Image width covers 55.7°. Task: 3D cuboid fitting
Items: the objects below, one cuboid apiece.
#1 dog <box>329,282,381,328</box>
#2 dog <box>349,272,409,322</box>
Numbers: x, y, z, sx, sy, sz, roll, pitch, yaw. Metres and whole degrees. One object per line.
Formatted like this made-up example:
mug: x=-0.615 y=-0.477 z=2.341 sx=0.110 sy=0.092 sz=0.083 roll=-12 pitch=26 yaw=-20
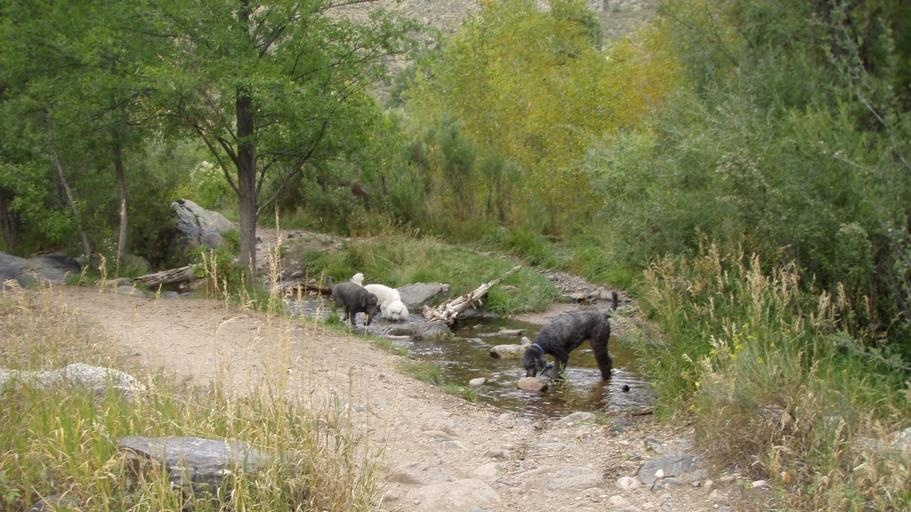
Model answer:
dog: x=-2.359 y=1.141 z=20.281 sx=0.787 sy=0.938 sz=1.256 roll=2 pitch=8 yaw=-24
dog: x=-1.868 y=1.044 z=21.380 sx=1.685 sy=0.876 sz=0.389 roll=29 pitch=24 yaw=32
